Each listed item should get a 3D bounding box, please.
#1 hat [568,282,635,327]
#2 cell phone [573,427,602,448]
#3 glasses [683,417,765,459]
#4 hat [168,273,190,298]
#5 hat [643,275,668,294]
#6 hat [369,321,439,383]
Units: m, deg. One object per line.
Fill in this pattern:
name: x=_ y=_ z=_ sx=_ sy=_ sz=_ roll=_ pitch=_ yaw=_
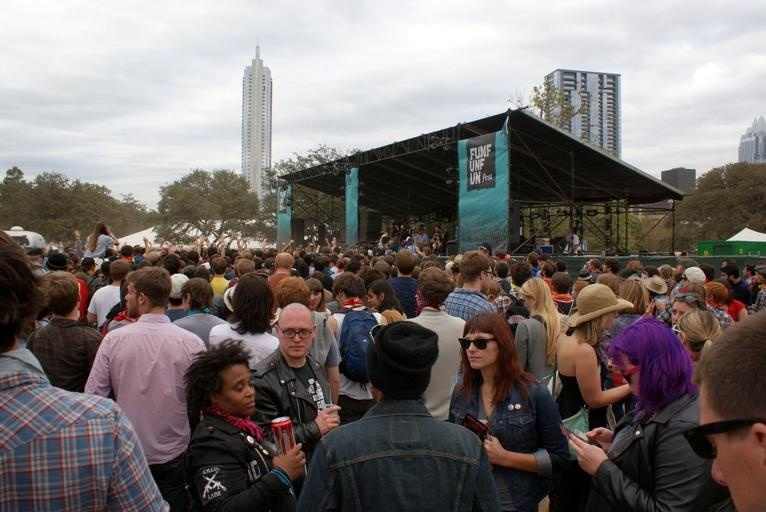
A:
hat: x=1.627 y=0.396 z=4.931 sx=0.397 sy=0.181 sz=0.310 roll=-20 pitch=4 yaw=-11
cell phone: x=1.296 y=1.164 z=4.181 sx=0.194 sy=0.047 sz=0.108 roll=21 pitch=-3 yaw=-5
glasses: x=1.419 y=0.779 z=2.720 sx=0.215 sy=0.070 sz=0.219 roll=-18 pitch=-22 yaw=3
hat: x=-1.862 y=0.275 z=5.961 sx=0.202 sy=0.117 sz=0.284 roll=-5 pitch=32 yaw=-16
hat: x=3.177 y=0.359 z=7.580 sx=0.227 sy=0.088 sz=0.213 roll=16 pitch=41 yaw=-10
hat: x=0.082 y=0.465 z=3.381 sx=0.329 sy=0.305 sz=0.287 roll=20 pitch=32 yaw=33
